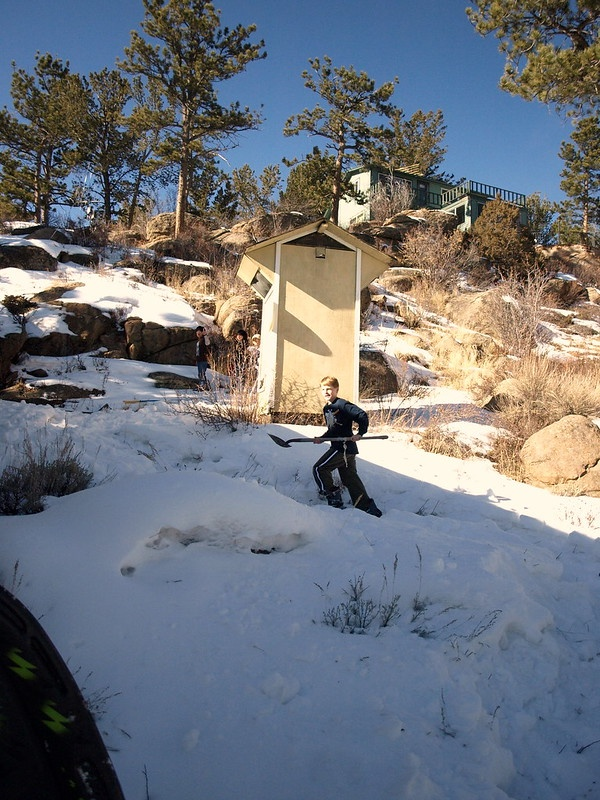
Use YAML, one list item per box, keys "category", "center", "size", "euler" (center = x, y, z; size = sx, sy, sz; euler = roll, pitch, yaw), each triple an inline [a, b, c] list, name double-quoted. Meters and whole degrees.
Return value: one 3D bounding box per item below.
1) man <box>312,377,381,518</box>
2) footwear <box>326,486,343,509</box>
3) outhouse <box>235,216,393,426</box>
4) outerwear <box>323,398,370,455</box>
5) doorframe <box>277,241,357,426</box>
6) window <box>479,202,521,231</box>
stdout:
- category: "man"
  center: [0.475, 0.535, 6.565]
  size: [0.685, 1.487, 0.509]
  euler: [-2, -38, 6]
- category: "footwear"
  center: [0.322, 0.917, 5.731]
  size: [0.150, 0.191, 0.188]
  euler: [-12, -12, 26]
- category: "outhouse"
  center: [0.056, -1.161, 10.658]
  size: [2.688, 3.696, 2.771]
  euler: [0, -2, -15]
- category: "outerwear"
  center: [0.387, 0.251, 6.057]
  size: [0.576, 0.581, 0.219]
  euler: [-2, 9, 38]
- category: "doorframe"
  center: [0.289, -1.079, 9.415]
  size: [1.302, 2.543, 0.681]
  euler: [4, 7, -13]
- category: "window"
  center: [7.595, -6.966, 23.252]
  size: [1.318, 1.571, 1.372]
  euler: [10, 13, 31]
